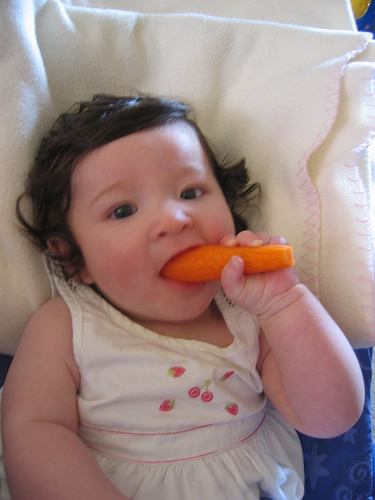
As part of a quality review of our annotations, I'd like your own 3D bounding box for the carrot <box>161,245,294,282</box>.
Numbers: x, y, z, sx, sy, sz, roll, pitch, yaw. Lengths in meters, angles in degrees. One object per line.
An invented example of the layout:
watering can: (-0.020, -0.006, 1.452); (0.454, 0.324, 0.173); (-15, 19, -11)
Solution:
carrot: (0.069, 0.022, 0.886); (0.212, 0.054, 0.048); (-8, 84, 24)
